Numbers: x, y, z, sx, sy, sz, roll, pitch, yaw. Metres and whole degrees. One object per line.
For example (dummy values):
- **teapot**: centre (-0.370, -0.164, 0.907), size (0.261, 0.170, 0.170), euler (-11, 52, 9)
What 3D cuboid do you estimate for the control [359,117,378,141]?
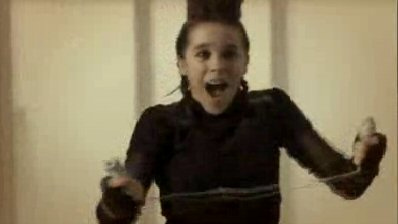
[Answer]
- **control**: centre (1.088, 0.118, 5.580), size (0.102, 0.140, 0.049), euler (25, -1, 0)

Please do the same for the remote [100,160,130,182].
- **remote**: centre (-0.539, 0.385, 5.535), size (0.188, 0.131, 0.045), euler (0, 11, 20)
